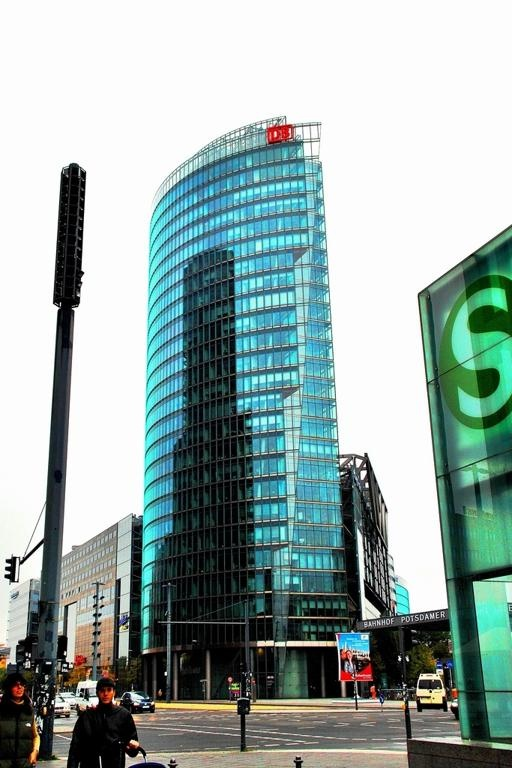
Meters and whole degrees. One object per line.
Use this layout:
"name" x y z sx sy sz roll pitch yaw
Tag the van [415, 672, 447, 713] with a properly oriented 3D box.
"van" 13.222 23.221 50.538 1.959 2.234 3.594 -4 -27 10
